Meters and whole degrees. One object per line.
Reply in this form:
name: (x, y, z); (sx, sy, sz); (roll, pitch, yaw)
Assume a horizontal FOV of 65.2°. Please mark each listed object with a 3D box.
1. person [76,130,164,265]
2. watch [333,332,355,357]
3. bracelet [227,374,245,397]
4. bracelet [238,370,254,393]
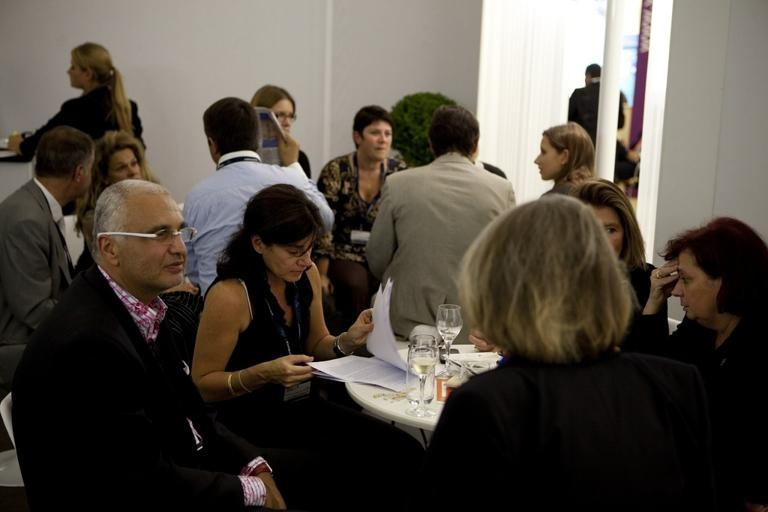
person: (-1.853, -0.490, 4.318); (0.491, 1.028, 0.367); (-16, 41, -29)
watch: (-0.190, 0.430, 2.903); (0.088, 0.105, 0.040); (-25, -1, 27)
bracelet: (-0.630, 0.544, 2.546); (0.073, 0.089, 0.040); (-5, -5, -17)
bracelet: (-0.587, 0.527, 2.570); (0.020, 0.075, 0.076); (-28, -1, -38)
